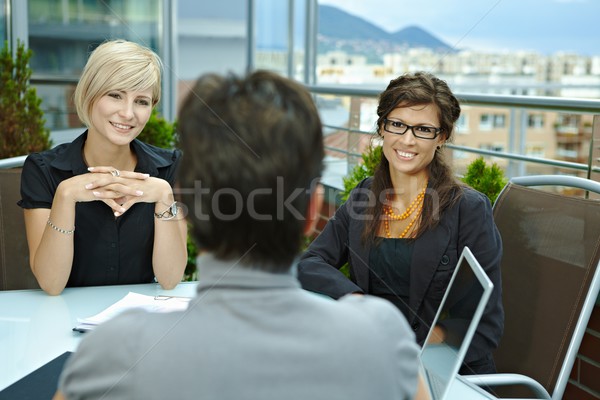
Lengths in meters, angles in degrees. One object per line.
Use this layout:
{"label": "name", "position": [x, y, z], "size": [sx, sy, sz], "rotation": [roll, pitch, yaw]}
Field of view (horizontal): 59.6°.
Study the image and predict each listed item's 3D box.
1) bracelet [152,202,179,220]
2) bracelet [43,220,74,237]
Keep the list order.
{"label": "bracelet", "position": [-0.518, 0.037, 2.035], "size": [0.062, 0.039, 0.064], "rotation": [3, 6, 41]}
{"label": "bracelet", "position": [-0.912, 0.107, 1.996], "size": [0.063, 0.016, 0.063], "rotation": [15, -4, 41]}
